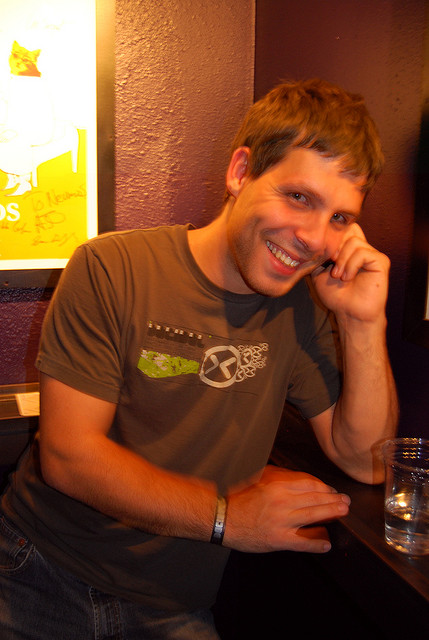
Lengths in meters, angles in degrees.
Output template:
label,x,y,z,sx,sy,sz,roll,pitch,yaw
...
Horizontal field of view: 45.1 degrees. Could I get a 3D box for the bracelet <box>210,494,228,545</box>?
label,x,y,z,sx,sy,sz,roll,pitch,yaw
bracelet,0.011,0.367,0.937,0.019,0.065,0.070,7,-27,-5
